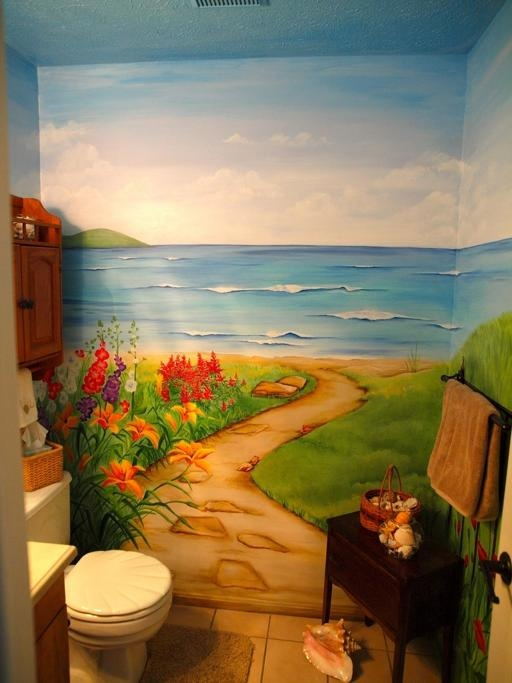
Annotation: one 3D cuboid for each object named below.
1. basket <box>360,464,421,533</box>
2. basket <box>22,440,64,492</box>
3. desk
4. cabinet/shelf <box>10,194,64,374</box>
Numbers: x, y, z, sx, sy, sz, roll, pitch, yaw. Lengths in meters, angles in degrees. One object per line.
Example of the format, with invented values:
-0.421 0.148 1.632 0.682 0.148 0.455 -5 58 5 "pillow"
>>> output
0.515 0.590 1.876 0.221 0.191 0.135 0 2 29 "basket"
-0.839 0.533 2.013 0.200 0.122 0.127 -15 -22 9 "basket"
0.504 0.938 1.825 0.338 0.453 0.464 -2 6 -25 "desk"
-0.824 -0.209 1.870 0.153 0.695 0.404 -1 6 -21 "cabinet/shelf"
